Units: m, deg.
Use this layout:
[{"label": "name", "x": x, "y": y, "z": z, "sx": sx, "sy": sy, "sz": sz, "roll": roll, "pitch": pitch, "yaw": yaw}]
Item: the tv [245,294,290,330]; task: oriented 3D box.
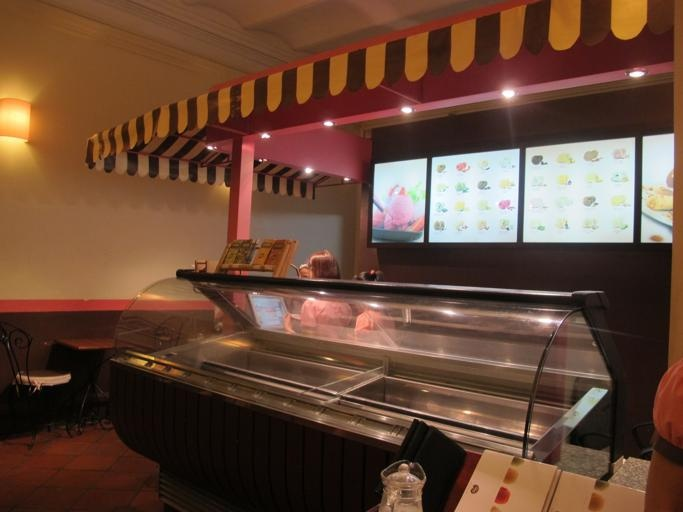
[{"label": "tv", "x": -0.444, "y": 0.322, "z": 2.977, "sx": 0.069, "sy": 0.197, "sz": 0.304, "roll": -10, "pitch": 9, "yaw": -44}]
